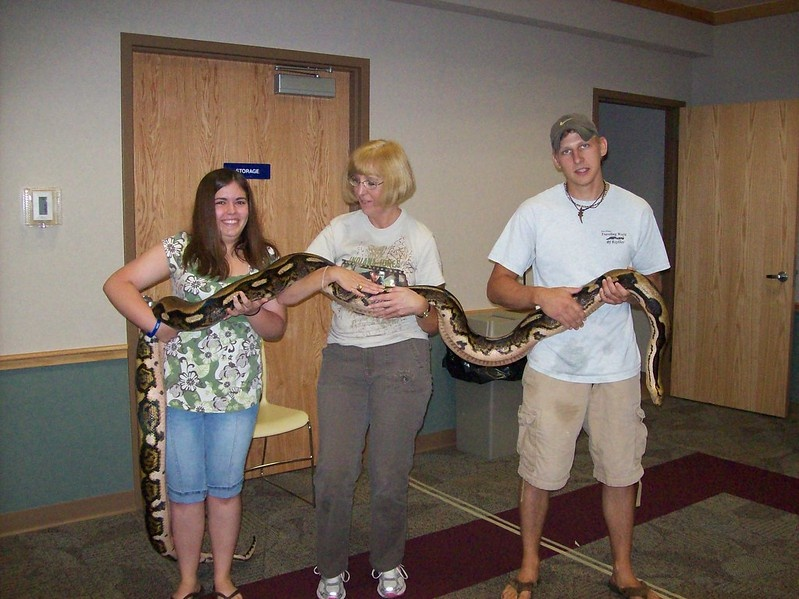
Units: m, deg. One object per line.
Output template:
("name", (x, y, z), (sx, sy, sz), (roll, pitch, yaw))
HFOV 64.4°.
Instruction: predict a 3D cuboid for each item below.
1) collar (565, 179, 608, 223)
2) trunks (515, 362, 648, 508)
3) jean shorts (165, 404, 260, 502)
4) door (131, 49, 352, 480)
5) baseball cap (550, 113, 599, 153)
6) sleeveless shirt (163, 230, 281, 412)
("collar", (1.128, -0.593, 3.863), (0.272, 0.244, 0.178), (3, 11, 14))
("trunks", (1.108, 0.750, 4.008), (0.585, 0.835, 0.539), (6, 17, -1))
("jean shorts", (-1.092, 0.837, 3.674), (0.438, 0.570, 0.408), (2, 13, -18))
("door", (-1.487, -0.272, 5.771), (1.906, 3.625, 0.621), (-5, 18, -37))
("baseball cap", (1.049, -1.017, 3.864), (0.276, 0.236, 0.245), (9, 13, 39))
("sleeveless shirt", (-1.065, 0.117, 3.588), (0.556, 0.994, 0.230), (-2, 5, -3))
